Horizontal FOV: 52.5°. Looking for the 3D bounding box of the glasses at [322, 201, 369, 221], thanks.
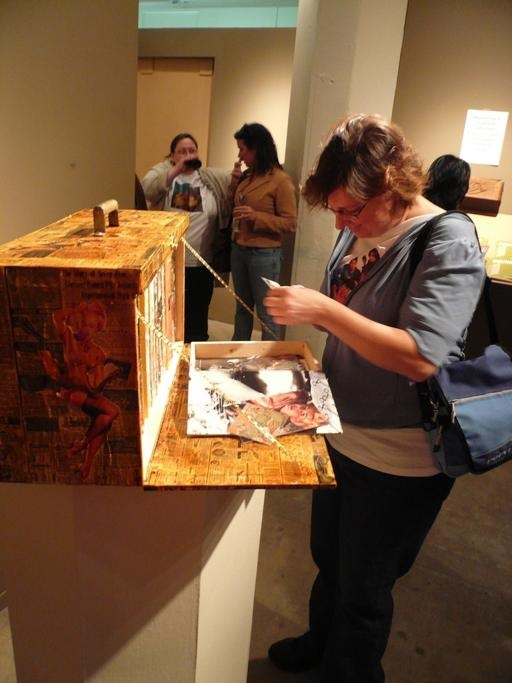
[{"bbox_3d":[0.177,-0.252,1.000,0.038,0.012,0.038,18,64,46],"label":"glasses"}]
